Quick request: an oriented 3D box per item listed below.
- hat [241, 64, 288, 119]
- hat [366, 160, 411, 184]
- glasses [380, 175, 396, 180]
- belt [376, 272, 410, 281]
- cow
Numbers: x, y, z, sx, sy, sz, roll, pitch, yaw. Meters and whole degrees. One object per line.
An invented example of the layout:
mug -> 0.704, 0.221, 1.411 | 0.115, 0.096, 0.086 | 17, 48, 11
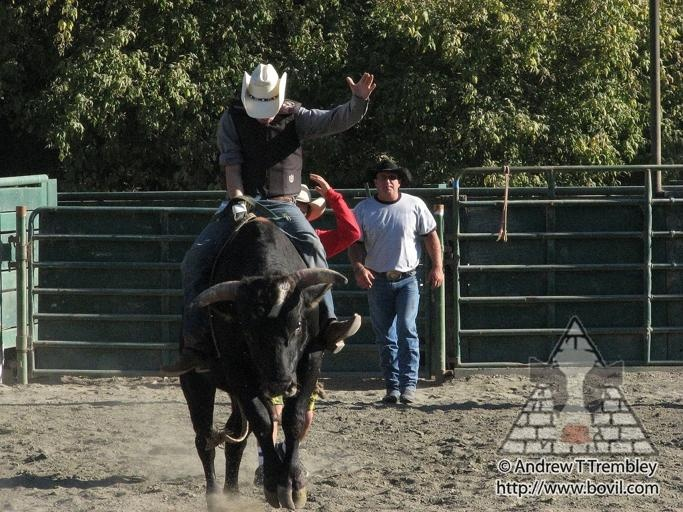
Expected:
hat -> -0.951, -1.964, 17.476 | 0.435, 0.742, 0.317 | 0, -27, 2
hat -> 0.751, -1.224, 21.415 | 0.716, 0.293, 0.760 | 1, -24, 1
glasses -> 0.672, -1.047, 19.625 | 0.194, 0.052, 0.028 | -1, 0, -15
belt -> 0.737, 0.296, 19.672 | 0.478, 0.140, 0.114 | -1, 0, -4
cow -> -0.993, 1.271, 16.931 | 1.775, 3.339, 1.218 | -1, 0, 44
